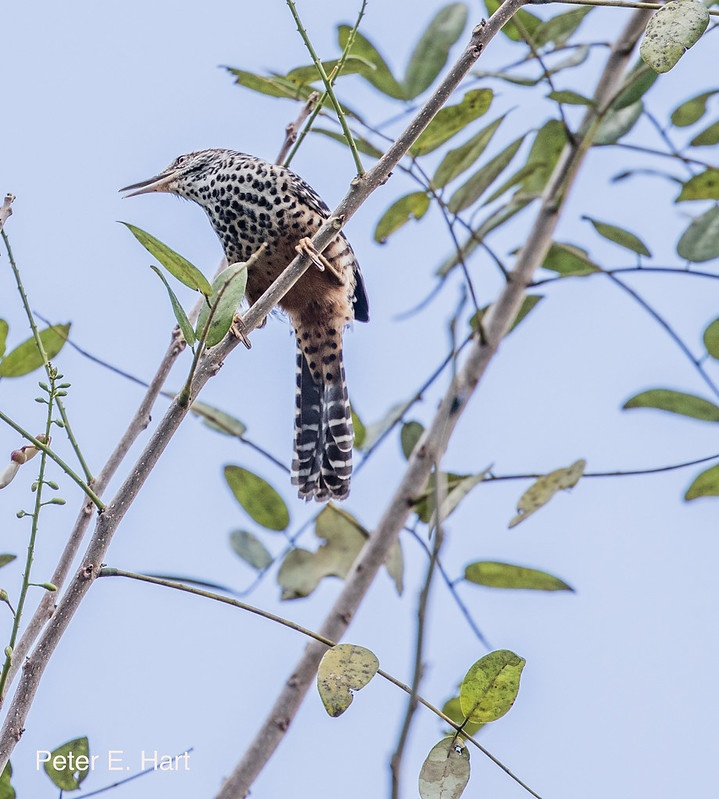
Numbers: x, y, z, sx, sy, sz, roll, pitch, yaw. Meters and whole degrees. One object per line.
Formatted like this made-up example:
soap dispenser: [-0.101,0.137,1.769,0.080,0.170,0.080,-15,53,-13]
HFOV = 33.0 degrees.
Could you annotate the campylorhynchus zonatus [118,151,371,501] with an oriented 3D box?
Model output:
campylorhynchus zonatus: [-0.125,0.011,1.879,0.200,0.293,0.926,-4,-65,12]
